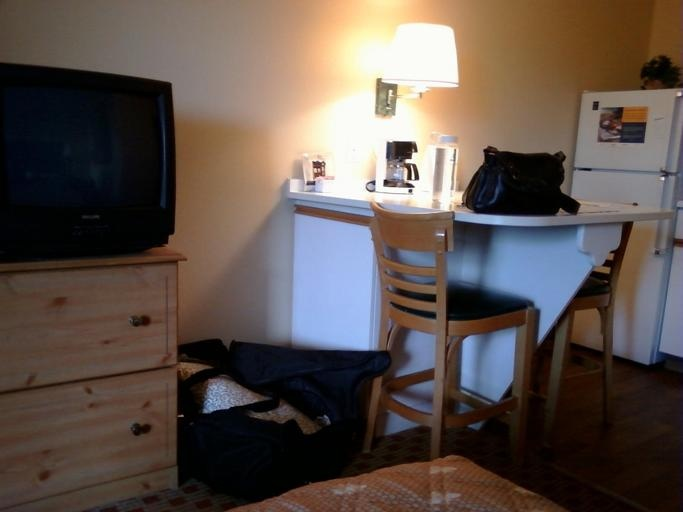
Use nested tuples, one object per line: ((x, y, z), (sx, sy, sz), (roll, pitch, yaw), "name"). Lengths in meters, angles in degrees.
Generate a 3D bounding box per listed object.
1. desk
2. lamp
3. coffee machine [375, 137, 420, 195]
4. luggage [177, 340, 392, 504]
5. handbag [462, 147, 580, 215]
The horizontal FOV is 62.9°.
((0.614, 0.230, 2.981), (1.308, 1.371, 1.636), (-8, 14, -39), "desk")
((0.400, -1.019, 3.122), (0.406, 0.448, 0.513), (-7, 12, -37), "lamp")
((0.289, -0.484, 3.025), (0.241, 0.289, 0.194), (6, 9, 15), "coffee machine")
((-0.277, 0.656, 2.471), (0.892, 0.489, 0.754), (-3, 16, -18), "luggage")
((0.778, -0.314, 2.397), (0.489, 0.275, 0.289), (0, 23, -21), "handbag")
